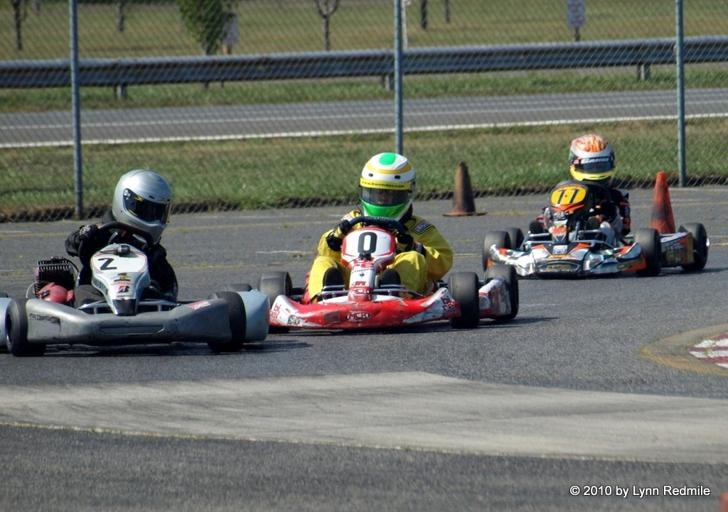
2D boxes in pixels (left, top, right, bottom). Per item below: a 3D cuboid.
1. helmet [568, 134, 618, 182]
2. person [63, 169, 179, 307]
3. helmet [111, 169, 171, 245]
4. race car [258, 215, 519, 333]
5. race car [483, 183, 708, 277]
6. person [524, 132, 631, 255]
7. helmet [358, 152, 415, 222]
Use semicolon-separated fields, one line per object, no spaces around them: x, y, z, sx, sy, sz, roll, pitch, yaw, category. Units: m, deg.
2.494;-1.030;17.124;0.414;0.558;0.421;-3;16;19;helmet
-2.058;-0.203;13.552;0.751;0.944;1.239;5;-7;-9;person
-1.864;-0.471;13.303;0.493;0.589;0.592;4;14;-36;helmet
0.187;0.361;13.904;1.435;1.315;2.667;0;9;4;race car
2.348;-0.277;16.114;2.263;0.972;0.966;-3;7;7;race car
2.455;-0.644;16.922;0.759;1.239;1.507;5;18;28;person
0.256;-0.690;14.470;0.500;0.574;0.603;2;5;8;helmet
